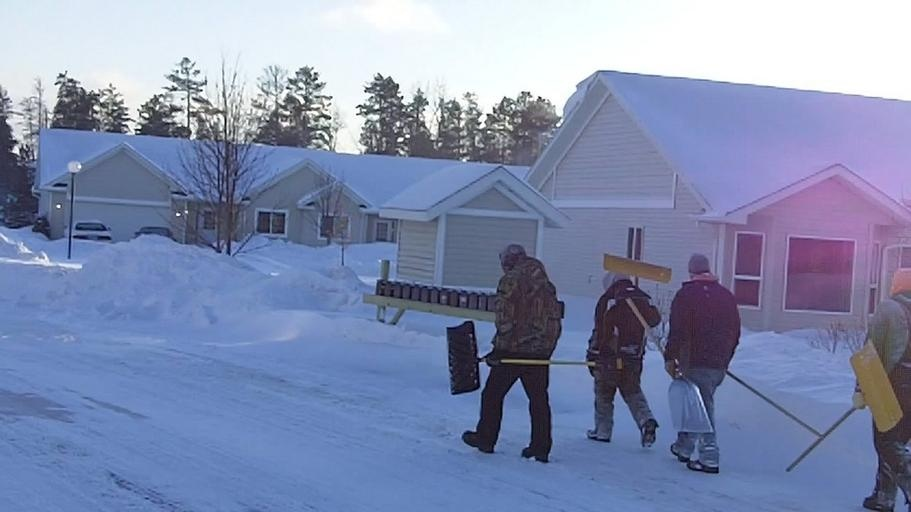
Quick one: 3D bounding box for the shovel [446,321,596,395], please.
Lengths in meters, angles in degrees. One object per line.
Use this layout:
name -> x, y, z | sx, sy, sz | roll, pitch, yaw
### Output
shovel -> 1.341, 1.960, 15.022 | 2.810, 1.134, 1.480 | -1, 6, 11

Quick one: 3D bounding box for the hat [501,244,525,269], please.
hat -> 1.099, 0.033, 15.210 | 0.515, 0.447, 0.372 | 4, -5, -12

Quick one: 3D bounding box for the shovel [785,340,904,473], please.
shovel -> 6.954, 2.492, 14.151 | 2.442, 1.475, 0.440 | -32, 10, -10

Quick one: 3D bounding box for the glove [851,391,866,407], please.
glove -> 7.193, 2.550, 13.906 | 0.100, 0.205, 0.275 | -6, 42, -19

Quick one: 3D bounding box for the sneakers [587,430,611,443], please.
sneakers -> 2.858, 3.639, 15.696 | 0.431, 0.187, 0.209 | 16, 8, 26

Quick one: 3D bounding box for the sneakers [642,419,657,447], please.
sneakers -> 3.730, 3.407, 15.056 | 0.259, 0.652, 0.293 | 6, 11, -1
